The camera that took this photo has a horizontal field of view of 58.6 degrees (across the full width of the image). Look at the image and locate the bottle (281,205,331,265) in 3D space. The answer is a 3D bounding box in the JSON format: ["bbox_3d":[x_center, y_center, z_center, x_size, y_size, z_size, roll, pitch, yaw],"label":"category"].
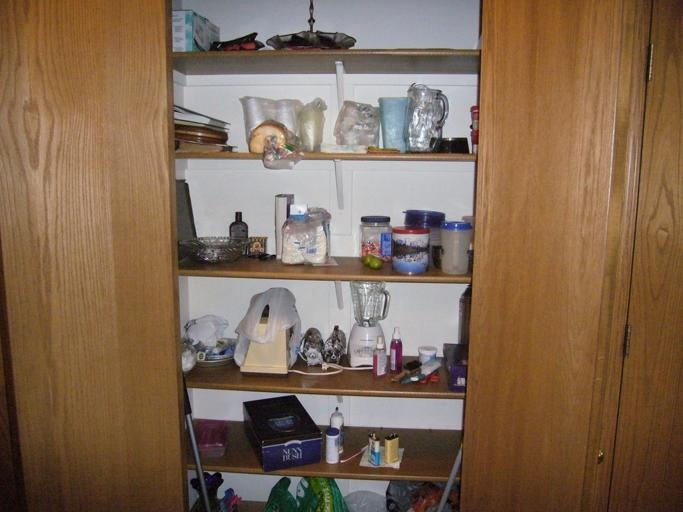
[{"bbox_3d":[-0.169,-0.082,2.681,0.252,0.308,0.161,1,-4,-11],"label":"bottle"}]

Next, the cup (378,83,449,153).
[{"bbox_3d":[0.243,-0.601,2.647,0.345,0.248,0.234,12,14,42],"label":"cup"}]

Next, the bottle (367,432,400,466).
[{"bbox_3d":[0.192,0.852,2.713,0.145,0.147,0.109,1,2,10],"label":"bottle"}]

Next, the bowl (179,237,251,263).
[{"bbox_3d":[-0.595,-0.031,2.810,0.317,0.101,0.272,-1,9,-4],"label":"bowl"}]

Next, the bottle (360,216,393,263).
[{"bbox_3d":[0.151,-0.077,2.766,0.142,0.203,0.244,0,9,2],"label":"bottle"}]

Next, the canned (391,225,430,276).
[{"bbox_3d":[0.294,-0.022,2.666,0.172,0.196,0.174,0,3,8],"label":"canned"}]

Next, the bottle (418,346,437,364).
[{"bbox_3d":[0.394,0.458,2.805,0.068,0.071,0.075,1,-4,22],"label":"bottle"}]

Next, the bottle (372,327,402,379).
[{"bbox_3d":[0.203,0.420,2.781,0.134,0.206,0.238,0,9,4],"label":"bottle"}]

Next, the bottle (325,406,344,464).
[{"bbox_3d":[-0.033,0.825,2.764,0.069,0.181,0.194,2,4,3],"label":"bottle"}]

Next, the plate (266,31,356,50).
[{"bbox_3d":[-0.138,-0.902,2.556,0.369,0.065,0.062,0,9,4],"label":"plate"}]

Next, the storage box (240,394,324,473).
[{"bbox_3d":[-0.279,0.807,2.797,0.275,0.197,0.368,-4,10,-22],"label":"storage box"}]

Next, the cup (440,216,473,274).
[{"bbox_3d":[0.487,-0.033,2.576,0.128,0.218,0.068,1,9,8],"label":"cup"}]

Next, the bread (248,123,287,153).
[{"bbox_3d":[-0.322,-0.508,2.621,0.170,0.137,0.158,-2,9,-9],"label":"bread"}]
